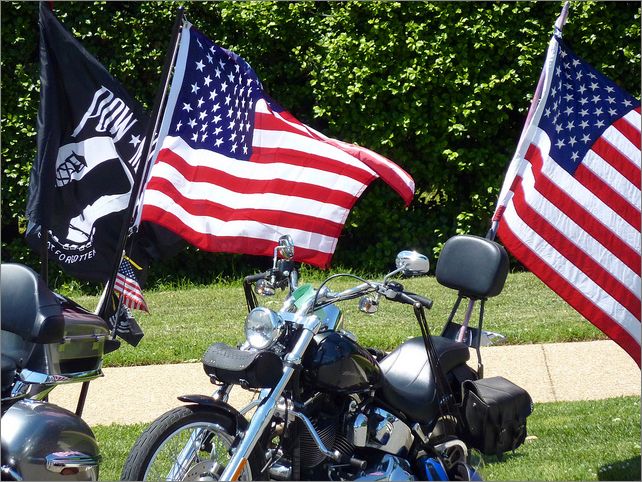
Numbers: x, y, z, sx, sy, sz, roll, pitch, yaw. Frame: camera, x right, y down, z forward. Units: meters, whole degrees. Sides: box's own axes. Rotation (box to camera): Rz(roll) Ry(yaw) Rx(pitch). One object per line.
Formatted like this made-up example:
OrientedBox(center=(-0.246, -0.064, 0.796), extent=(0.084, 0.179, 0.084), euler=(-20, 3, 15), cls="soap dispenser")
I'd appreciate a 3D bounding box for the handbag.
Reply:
OrientedBox(center=(1.416, 1.414, 7.134), extent=(0.458, 0.605, 0.427), euler=(-6, 17, -23), cls="handbag")
